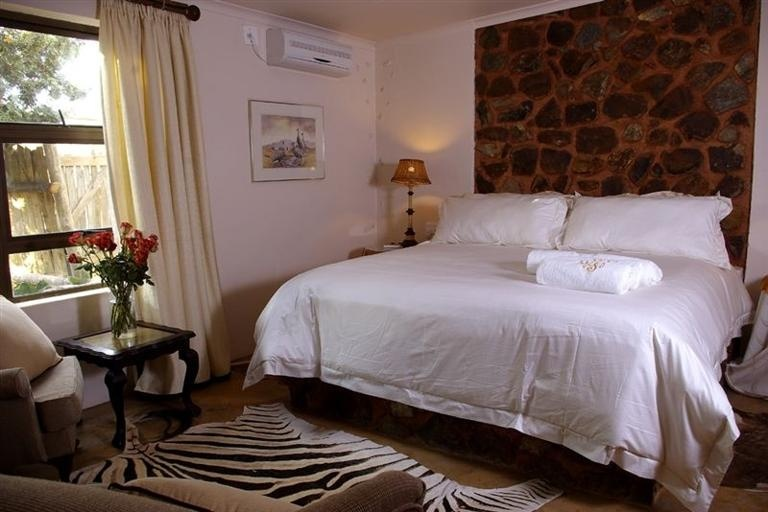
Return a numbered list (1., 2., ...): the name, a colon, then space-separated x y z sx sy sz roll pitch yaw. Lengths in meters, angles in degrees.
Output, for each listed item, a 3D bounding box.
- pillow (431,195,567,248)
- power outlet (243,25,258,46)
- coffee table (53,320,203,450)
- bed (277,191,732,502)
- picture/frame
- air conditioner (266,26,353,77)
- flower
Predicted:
1. pillow: 1.004 -0.293 4.397 0.714 0.620 0.194 4 -18 31
2. power outlet: -1.173 -1.954 4.489 0.027 0.203 0.182 13 19 38
3. coffee table: -1.789 0.770 3.650 0.856 0.696 0.857 3 6 32
4. bed: 1.076 0.335 3.705 2.553 1.579 2.258 6 11 35
5. picture/frame: -0.902 -1.093 4.869 0.826 0.691 0.023 9 19 24
6. air conditioner: -0.670 -1.957 4.937 0.253 0.308 0.860 18 19 41
7. flower: -1.874 0.145 3.587 0.508 0.763 0.696 -5 11 -29
